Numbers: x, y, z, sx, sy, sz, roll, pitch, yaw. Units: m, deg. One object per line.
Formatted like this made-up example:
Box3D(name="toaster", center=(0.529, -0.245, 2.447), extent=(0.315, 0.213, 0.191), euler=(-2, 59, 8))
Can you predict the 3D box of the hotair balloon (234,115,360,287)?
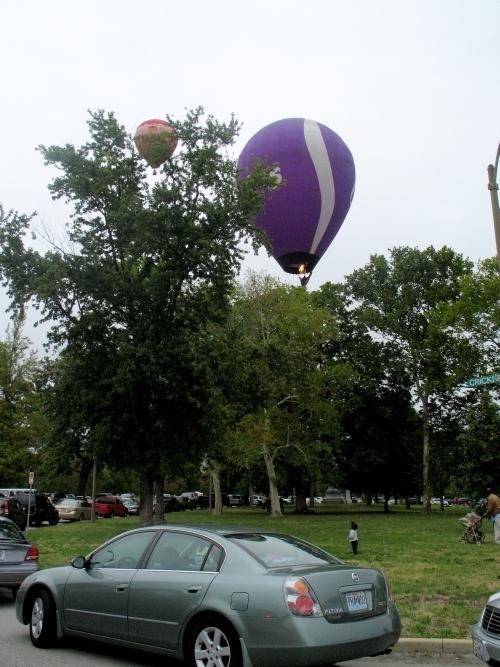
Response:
Box3D(name="hotair balloon", center=(3.044, -7.285, 37.822), extent=(6.600, 9.296, 6.692), euler=(3, 4, 16))
